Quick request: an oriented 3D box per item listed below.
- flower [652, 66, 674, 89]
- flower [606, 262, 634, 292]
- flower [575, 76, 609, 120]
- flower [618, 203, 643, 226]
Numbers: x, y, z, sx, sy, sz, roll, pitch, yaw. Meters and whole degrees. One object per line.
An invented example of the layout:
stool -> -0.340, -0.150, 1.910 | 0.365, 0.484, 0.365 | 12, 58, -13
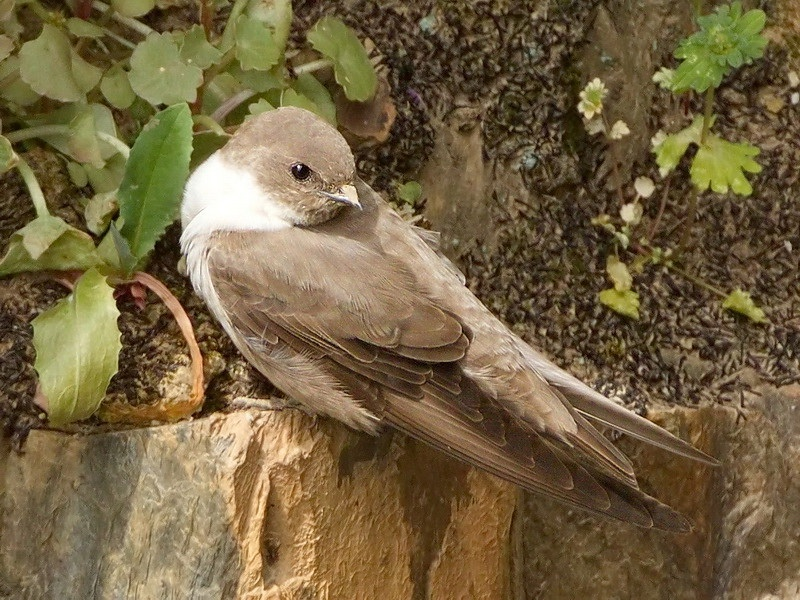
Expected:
flower -> 1.256, -1.039, 6.482 | 0.090, 0.096, 0.109 | -22, 21, -17
flower -> 1.047, -0.118, 6.512 | 0.099, 0.139, 0.036 | -7, -20, -20
flower -> 0.918, -0.947, 6.501 | 0.124, 0.202, 0.084 | 21, -2, 7
flower -> 1.107, -0.406, 6.552 | 0.099, 0.102, 0.030 | 6, -1, -6
